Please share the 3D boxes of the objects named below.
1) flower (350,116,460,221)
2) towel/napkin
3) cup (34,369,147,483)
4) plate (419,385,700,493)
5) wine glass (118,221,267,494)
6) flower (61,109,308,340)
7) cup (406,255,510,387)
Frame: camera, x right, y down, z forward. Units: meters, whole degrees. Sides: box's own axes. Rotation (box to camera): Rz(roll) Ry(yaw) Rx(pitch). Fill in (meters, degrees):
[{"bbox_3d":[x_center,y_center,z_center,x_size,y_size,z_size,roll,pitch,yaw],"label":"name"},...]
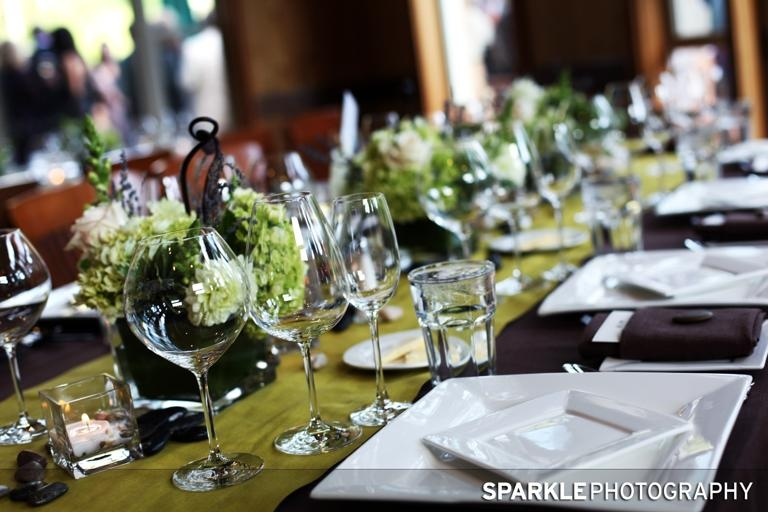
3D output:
[{"bbox_3d":[0.053,-0.235,1.624,0.252,0.240,0.242,1,8,19],"label":"flower"},{"bbox_3d":[0.429,0.112,0.874,0.153,0.040,0.128,-3,3,20],"label":"towel/napkin"},{"bbox_3d":[-0.461,0.274,0.910,0.155,0.114,0.153,-13,-5,-1],"label":"cup"},{"bbox_3d":[0.187,0.206,0.671,0.264,0.043,0.141,-10,12,-13],"label":"plate"},{"bbox_3d":[-0.256,0.135,0.802,0.157,0.332,0.120,-4,13,16],"label":"wine glass"},{"bbox_3d":[-0.343,-0.047,1.104,0.372,0.365,0.398,6,-20,-27],"label":"flower"},{"bbox_3d":[0.109,0.103,0.917,0.116,0.170,0.114,-7,10,1],"label":"cup"}]
